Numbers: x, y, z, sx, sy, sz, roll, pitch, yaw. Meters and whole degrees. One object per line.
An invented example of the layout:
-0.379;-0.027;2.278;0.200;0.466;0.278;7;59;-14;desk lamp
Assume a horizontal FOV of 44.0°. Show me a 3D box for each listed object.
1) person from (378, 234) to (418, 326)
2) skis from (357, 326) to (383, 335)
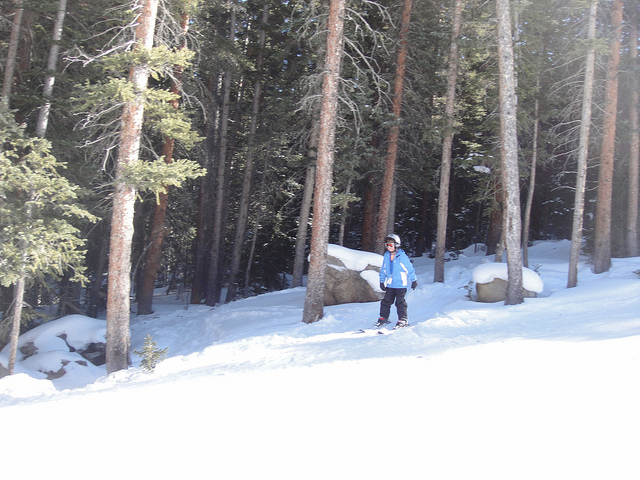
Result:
2.428;1.269;25.273;1.244;2.868;0.874;-3;-3;4;person
1.544;2.830;24.898;0.861;0.097;0.189;-4;28;-12;skis
